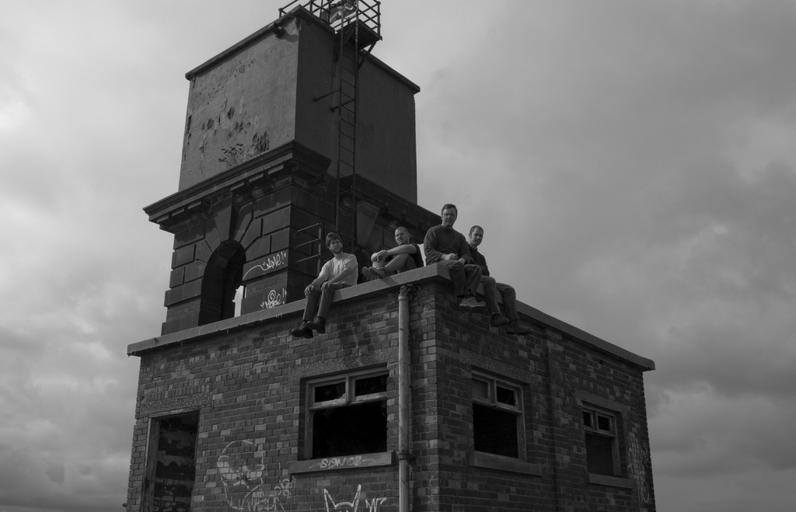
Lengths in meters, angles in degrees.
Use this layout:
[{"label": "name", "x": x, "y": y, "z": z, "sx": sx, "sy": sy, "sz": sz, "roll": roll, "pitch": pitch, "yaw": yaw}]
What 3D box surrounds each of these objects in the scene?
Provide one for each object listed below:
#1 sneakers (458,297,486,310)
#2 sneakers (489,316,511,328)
[{"label": "sneakers", "x": 1.765, "y": 1.154, "z": 17.497, "sx": 0.497, "sy": 0.221, "sz": 0.291, "roll": -10, "pitch": -13, "yaw": 16}, {"label": "sneakers", "x": 2.491, "y": 1.611, "z": 17.693, "sx": 0.419, "sy": 0.311, "sz": 0.244, "roll": -10, "pitch": -11, "yaw": 25}]
